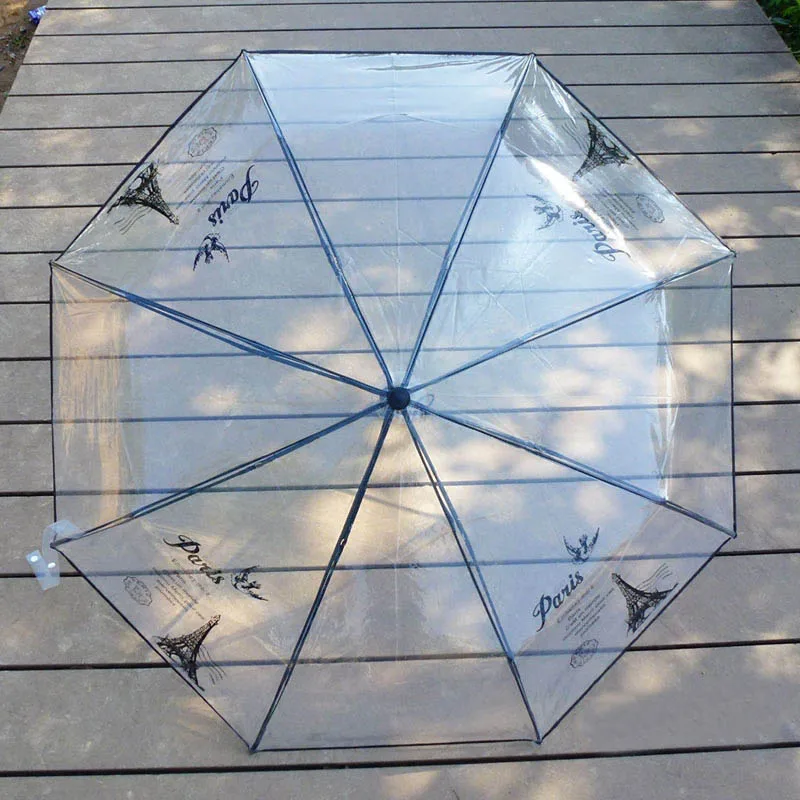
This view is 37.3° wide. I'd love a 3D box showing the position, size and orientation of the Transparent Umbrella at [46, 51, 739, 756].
[{"bbox_3d":[0.015,0.130,2.668,1.311,0.767,1.276,40,72,20],"label":"Transparent Umbrella"}]
